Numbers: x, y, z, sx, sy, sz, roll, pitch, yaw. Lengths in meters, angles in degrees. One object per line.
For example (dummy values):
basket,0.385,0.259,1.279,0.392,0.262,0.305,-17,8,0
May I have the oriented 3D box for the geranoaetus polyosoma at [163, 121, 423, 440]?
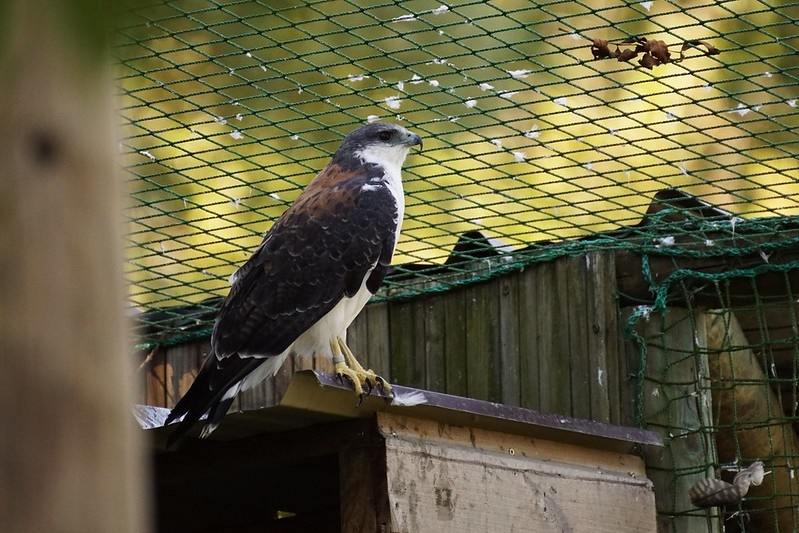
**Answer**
geranoaetus polyosoma,-0.459,0.121,8.643,1.708,1.668,0.716,-7,-29,-8
